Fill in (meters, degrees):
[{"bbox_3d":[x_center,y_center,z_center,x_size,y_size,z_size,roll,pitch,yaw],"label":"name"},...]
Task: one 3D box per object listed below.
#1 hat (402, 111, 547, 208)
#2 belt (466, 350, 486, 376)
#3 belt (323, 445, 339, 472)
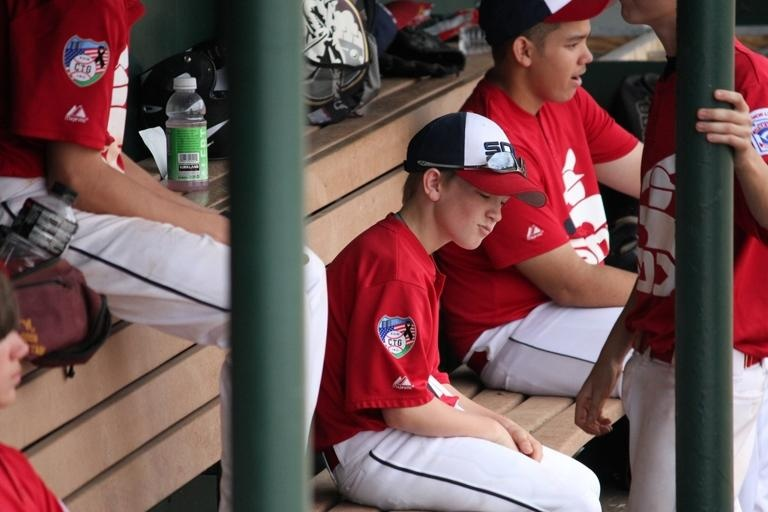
[{"bbox_3d":[0.299,-0.316,2.275,0.374,0.215,0.260,12,9,21],"label":"hat"},{"bbox_3d":[0.370,0.428,2.829,0.059,0.058,0.112,8,-23,-19],"label":"belt"},{"bbox_3d":[-0.159,0.609,2.089,0.032,0.091,0.066,1,13,3],"label":"belt"}]
